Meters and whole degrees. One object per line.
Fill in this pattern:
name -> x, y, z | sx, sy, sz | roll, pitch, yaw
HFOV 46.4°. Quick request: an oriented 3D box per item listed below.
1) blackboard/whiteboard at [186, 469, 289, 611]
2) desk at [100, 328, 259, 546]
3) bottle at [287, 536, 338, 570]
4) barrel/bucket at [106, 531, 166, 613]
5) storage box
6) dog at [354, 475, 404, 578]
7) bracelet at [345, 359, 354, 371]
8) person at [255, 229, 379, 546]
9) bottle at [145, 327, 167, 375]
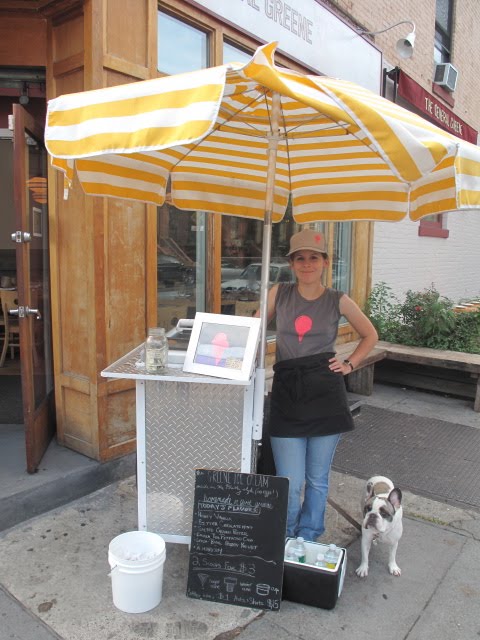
blackboard/whiteboard -> -0.016, 0.985, 2.537 | 0.445, 0.572, 0.152 | 4, 8, 11
desk -> -0.378, 0.652, 3.034 | 0.790, 1.036, 0.779 | 4, 14, -4
bottle -> 0.344, 1.107, 2.707 | 0.222, 0.118, 0.316 | 3, 11, 6
barrel/bucket -> -0.474, 1.155, 2.551 | 0.245, 0.306, 0.253 | 3, 8, 0
storage box -> 0.352, 1.203, 2.663 | 0.286, 0.255, 0.221 | 4, 8, 9
dog -> 0.769, 1.094, 3.047 | 0.224, 0.480, 0.705 | 4, -1, 16
bracelet -> 0.583, 0.234, 2.977 | 0.016, 0.056, 0.058 | -31, -26, 3
person -> 0.424, 0.349, 3.097 | 0.577, 1.624, 0.616 | 0, 3, 5
bottle -> -0.395, 0.137, 2.629 | 0.103, 0.192, 0.143 | 1, 8, -10
